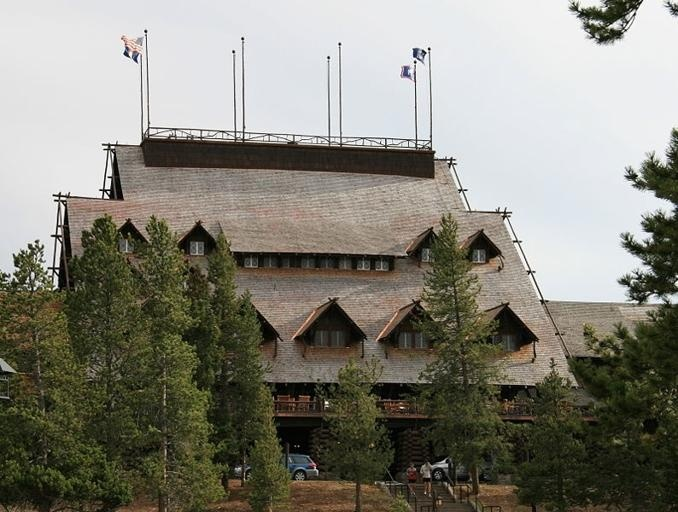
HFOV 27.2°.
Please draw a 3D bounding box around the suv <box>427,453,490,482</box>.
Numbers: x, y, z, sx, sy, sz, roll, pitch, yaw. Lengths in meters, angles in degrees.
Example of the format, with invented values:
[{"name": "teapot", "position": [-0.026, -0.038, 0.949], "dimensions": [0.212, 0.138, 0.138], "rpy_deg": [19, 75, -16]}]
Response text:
[{"name": "suv", "position": [8.150, 14.685, 94.856], "dimensions": [3.427, 2.177, 2.035], "rpy_deg": [-3, -4, 0]}]
